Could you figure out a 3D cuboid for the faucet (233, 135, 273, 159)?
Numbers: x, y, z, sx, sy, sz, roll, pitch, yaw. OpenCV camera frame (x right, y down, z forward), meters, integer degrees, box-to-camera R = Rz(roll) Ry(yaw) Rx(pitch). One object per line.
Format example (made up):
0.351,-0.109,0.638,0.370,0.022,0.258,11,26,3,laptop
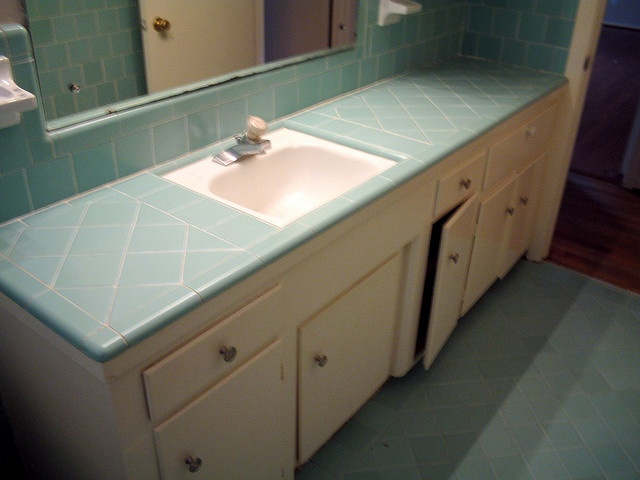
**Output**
-0.232,-0.322,1.679,0.115,0.027,0.082,-21,51,-36,faucet
